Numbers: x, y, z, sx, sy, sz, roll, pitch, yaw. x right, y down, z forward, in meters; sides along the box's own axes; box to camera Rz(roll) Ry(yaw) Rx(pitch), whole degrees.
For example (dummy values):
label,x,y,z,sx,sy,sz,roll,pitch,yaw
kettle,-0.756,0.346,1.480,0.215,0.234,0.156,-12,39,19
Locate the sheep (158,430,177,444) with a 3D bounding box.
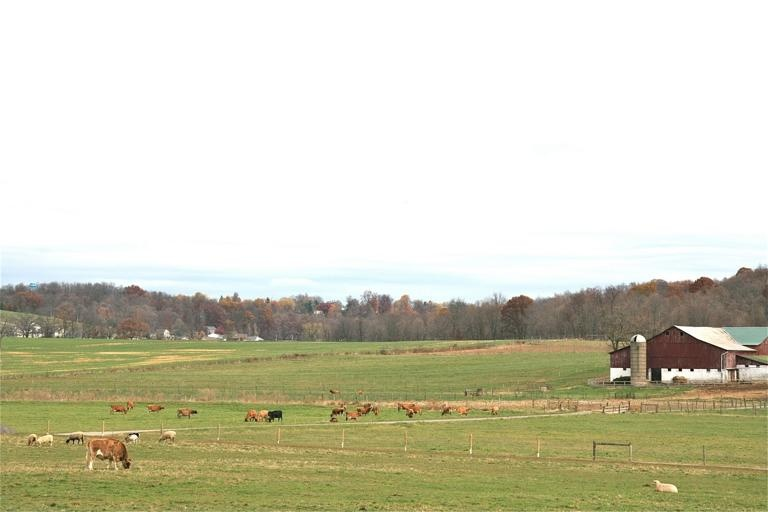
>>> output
label,x,y,z,sx,sy,sz,roll,pitch,yaw
sheep,-28.637,23.934,177.658,2.152,1.556,1.656,1,-6,-4
